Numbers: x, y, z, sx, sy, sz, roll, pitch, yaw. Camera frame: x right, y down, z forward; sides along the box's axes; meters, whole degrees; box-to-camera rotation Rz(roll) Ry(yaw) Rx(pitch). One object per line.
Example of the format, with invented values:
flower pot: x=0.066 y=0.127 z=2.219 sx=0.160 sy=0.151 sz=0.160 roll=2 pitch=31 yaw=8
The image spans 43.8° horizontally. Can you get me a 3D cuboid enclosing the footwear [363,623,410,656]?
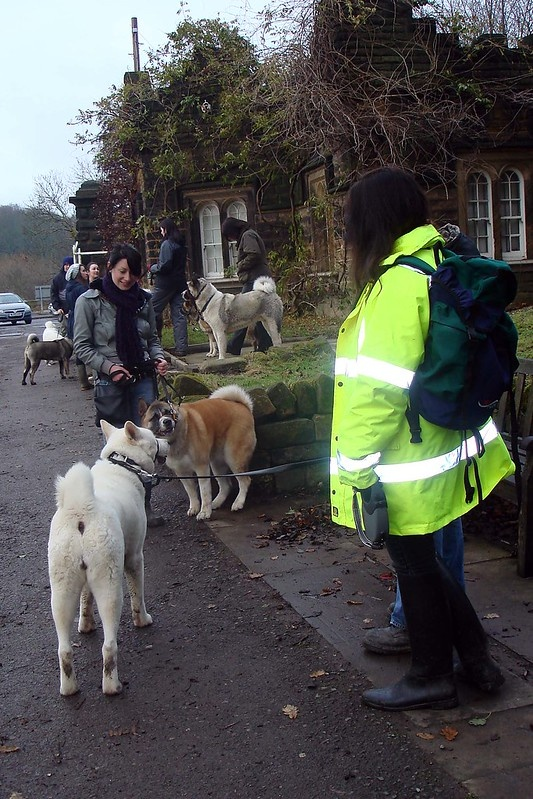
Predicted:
footwear: x=0.563 y=1.122 z=3.117 sx=0.241 sy=0.102 sz=0.099 roll=4 pitch=2 yaw=-3

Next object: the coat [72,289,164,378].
coat: x=-1.122 y=-0.538 z=5.149 sx=0.699 sy=0.675 sz=0.441 roll=-12 pitch=14 yaw=-40

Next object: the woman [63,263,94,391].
woman: x=-3.418 y=-1.412 z=12.688 sx=0.637 sy=2.283 sz=0.663 roll=11 pitch=18 yaw=34

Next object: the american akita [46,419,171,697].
american akita: x=-0.811 y=0.730 z=3.286 sx=0.522 sy=1.129 sz=0.970 roll=-7 pitch=7 yaw=-7

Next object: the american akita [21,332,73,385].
american akita: x=-4.821 y=-0.974 z=14.999 sx=0.399 sy=1.052 sz=1.438 roll=2 pitch=8 yaw=35

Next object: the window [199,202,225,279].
window: x=-1.513 y=-4.685 z=19.513 sx=0.906 sy=2.146 sz=0.238 roll=2 pitch=12 yaw=27

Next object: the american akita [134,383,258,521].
american akita: x=-0.513 y=0.418 z=5.437 sx=0.433 sy=1.056 sz=1.216 roll=-2 pitch=10 yaw=39

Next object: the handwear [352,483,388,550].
handwear: x=0.380 y=0.413 z=2.465 sx=0.076 sy=0.254 sz=0.193 roll=-4 pitch=-3 yaw=-23
